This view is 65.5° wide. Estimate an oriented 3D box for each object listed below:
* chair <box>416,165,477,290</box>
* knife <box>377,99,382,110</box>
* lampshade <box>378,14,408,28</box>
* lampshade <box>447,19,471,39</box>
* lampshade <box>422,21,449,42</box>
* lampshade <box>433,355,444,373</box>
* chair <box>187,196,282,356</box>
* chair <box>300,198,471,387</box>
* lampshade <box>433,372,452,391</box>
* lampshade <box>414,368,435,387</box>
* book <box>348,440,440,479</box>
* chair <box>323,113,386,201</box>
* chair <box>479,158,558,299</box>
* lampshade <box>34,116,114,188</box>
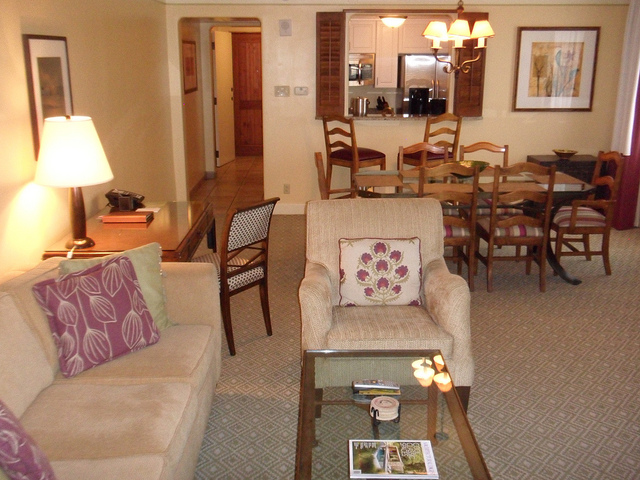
[{"bbox_3d":[1.175,-0.150,4.547,0.566,1.003,0.628,6,16,15],"label":"chair"},{"bbox_3d":[0.896,-2.089,7.544,0.039,0.093,0.122,-24,60,-14],"label":"knife"},{"bbox_3d":[1.040,-3.147,7.129,0.344,0.180,0.551,0,17,8],"label":"lampshade"},{"bbox_3d":[1.222,-1.824,4.307,0.182,0.124,0.185,25,38,16],"label":"lampshade"},{"bbox_3d":[1.045,-1.862,4.438,0.196,0.127,0.187,11,22,3],"label":"lampshade"},{"bbox_3d":[0.615,0.634,2.581,0.050,0.078,0.053,-2,21,-1],"label":"lampshade"},{"bbox_3d":[-0.741,0.236,3.756,0.752,1.067,0.842,-13,19,-41],"label":"chair"},{"bbox_3d":[0.408,0.364,3.288,1.137,1.144,1.102,-1,24,0],"label":"chair"},{"bbox_3d":[0.605,0.691,2.430,0.059,0.038,0.057,-1,30,4],"label":"lampshade"},{"bbox_3d":[0.522,0.682,2.472,0.070,0.048,0.069,-3,19,-8],"label":"lampshade"},{"bbox_3d":[0.287,0.872,1.982,0.342,0.054,0.187,-2,17,1],"label":"book"},{"bbox_3d":[0.454,-1.004,6.297,0.723,1.111,0.755,9,19,26],"label":"chair"},{"bbox_3d":[1.837,-0.140,4.751,0.721,1.173,0.765,-2,14,0],"label":"chair"},{"bbox_3d":[-1.561,-0.522,3.170,0.473,0.442,0.454,15,29,29],"label":"lampshade"}]
